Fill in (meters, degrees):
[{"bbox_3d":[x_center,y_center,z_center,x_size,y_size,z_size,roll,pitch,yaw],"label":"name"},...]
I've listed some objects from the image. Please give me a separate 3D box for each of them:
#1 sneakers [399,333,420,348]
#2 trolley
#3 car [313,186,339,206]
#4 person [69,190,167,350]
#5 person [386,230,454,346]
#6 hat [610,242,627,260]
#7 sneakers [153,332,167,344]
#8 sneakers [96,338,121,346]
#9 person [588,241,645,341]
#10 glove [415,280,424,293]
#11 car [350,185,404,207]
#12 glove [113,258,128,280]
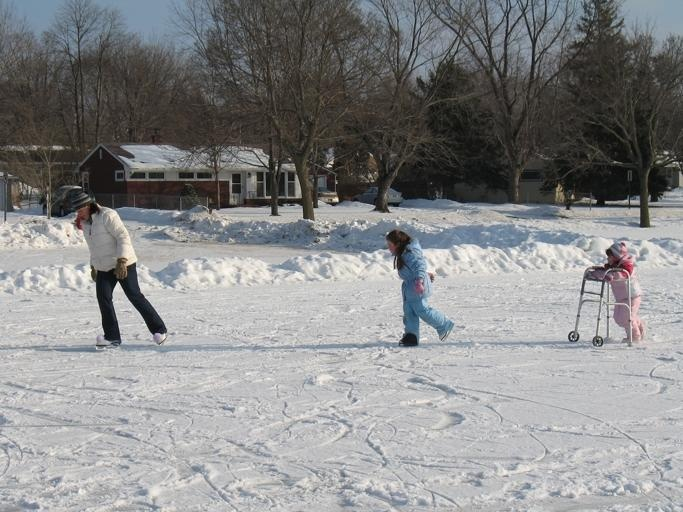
[{"bbox_3d":[0.861,1.100,10.430,0.235,0.166,0.138,4,2,7],"label":"sneakers"},{"bbox_3d":[3.369,0.682,10.532,0.749,1.011,0.655,1,2,-10],"label":"trolley"},{"bbox_3d":[-0.999,-3.960,53.704,0.942,0.682,2.037,-2,13,-16],"label":"car"},{"bbox_3d":[-2.860,0.160,10.279,0.964,1.976,0.929,-6,11,-35],"label":"person"},{"bbox_3d":[0.957,0.429,10.260,0.790,1.491,0.430,1,9,2],"label":"person"},{"bbox_3d":[3.496,-0.079,10.298,0.206,0.207,0.194,3,9,17],"label":"hat"},{"bbox_3d":[-2.309,1.062,10.352,0.151,0.146,0.117,6,-6,-11],"label":"sneakers"},{"bbox_3d":[-2.936,1.109,10.205,0.234,0.092,0.110,-2,7,-13],"label":"sneakers"},{"bbox_3d":[3.521,0.457,10.389,0.672,1.294,0.539,-7,11,-39],"label":"person"},{"bbox_3d":[0.958,0.390,10.047,0.109,0.151,0.061,13,-10,-44],"label":"glove"},{"bbox_3d":[2.411,-3.808,52.211,3.265,1.181,1.534,8,10,38],"label":"car"},{"bbox_3d":[-2.709,0.170,10.004,0.154,0.283,0.149,-2,9,-15],"label":"glove"}]
